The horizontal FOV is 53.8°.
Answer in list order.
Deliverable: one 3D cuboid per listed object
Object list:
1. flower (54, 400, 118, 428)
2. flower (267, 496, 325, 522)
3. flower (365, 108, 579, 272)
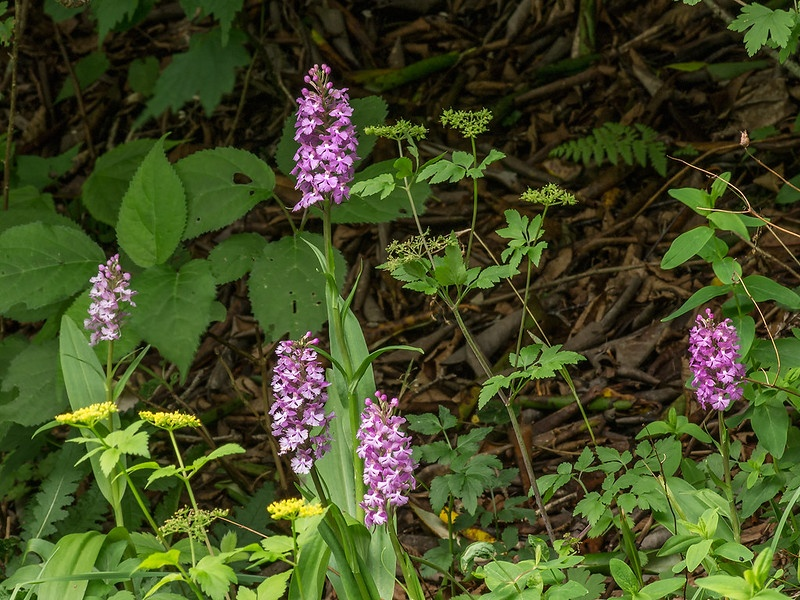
[{"bbox_3d":[-1.083,0.394,2.736,0.150,0.139,0.050,-13,93,-25],"label":"flower"},{"bbox_3d":[-0.340,0.682,2.606,0.157,0.132,0.055,1,85,-35],"label":"flower"},{"bbox_3d":[0.416,-0.578,4.354,0.913,0.821,0.747,-6,25,6],"label":"flower"}]
